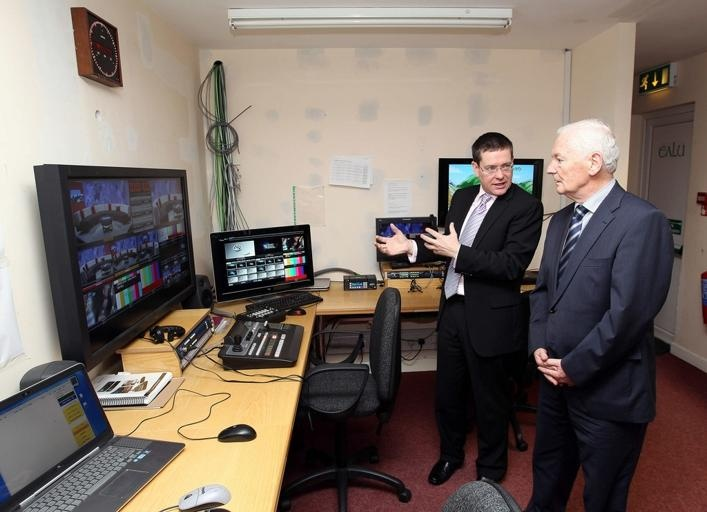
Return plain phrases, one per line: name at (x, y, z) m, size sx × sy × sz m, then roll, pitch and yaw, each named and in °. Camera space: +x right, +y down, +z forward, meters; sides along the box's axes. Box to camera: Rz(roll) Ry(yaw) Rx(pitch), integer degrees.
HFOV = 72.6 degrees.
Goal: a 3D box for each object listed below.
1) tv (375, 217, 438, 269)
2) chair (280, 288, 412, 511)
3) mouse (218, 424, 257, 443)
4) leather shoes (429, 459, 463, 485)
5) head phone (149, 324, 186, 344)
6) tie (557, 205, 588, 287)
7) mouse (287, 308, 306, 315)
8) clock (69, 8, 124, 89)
tv at (0.385, -0.097, 3.421) m, size 0.371 × 0.366 × 0.101 m, roll -1°, pitch -5°, yaw 0°
chair at (0.045, 0.853, 3.394) m, size 1.007 × 1.662 × 1.131 m, roll 2°, pitch 0°, yaw -6°
mouse at (-0.487, 0.743, 1.997) m, size 0.120 × 0.046 × 0.075 m, roll 4°, pitch 4°, yaw -4°
leather shoes at (0.582, 1.329, 2.991) m, size 0.087 × 0.109 × 0.245 m, roll 0°, pitch -4°, yaw 42°
head phone at (-1.008, 0.412, 2.542) m, size 0.125 × 0.054 × 0.099 m, roll 2°, pitch 9°, yaw 6°
tie at (1.034, -0.030, 2.252) m, size 0.045 × 0.405 × 0.053 m, roll 23°, pitch 0°, yaw -10°
mouse at (-0.380, 0.375, 3.221) m, size 0.073 × 0.027 × 0.050 m, roll 1°, pitch 7°, yaw 17°
clock at (-1.334, -1.069, 2.494) m, size 0.089 × 0.353 × 0.258 m, roll -1°, pitch 13°, yaw 7°
